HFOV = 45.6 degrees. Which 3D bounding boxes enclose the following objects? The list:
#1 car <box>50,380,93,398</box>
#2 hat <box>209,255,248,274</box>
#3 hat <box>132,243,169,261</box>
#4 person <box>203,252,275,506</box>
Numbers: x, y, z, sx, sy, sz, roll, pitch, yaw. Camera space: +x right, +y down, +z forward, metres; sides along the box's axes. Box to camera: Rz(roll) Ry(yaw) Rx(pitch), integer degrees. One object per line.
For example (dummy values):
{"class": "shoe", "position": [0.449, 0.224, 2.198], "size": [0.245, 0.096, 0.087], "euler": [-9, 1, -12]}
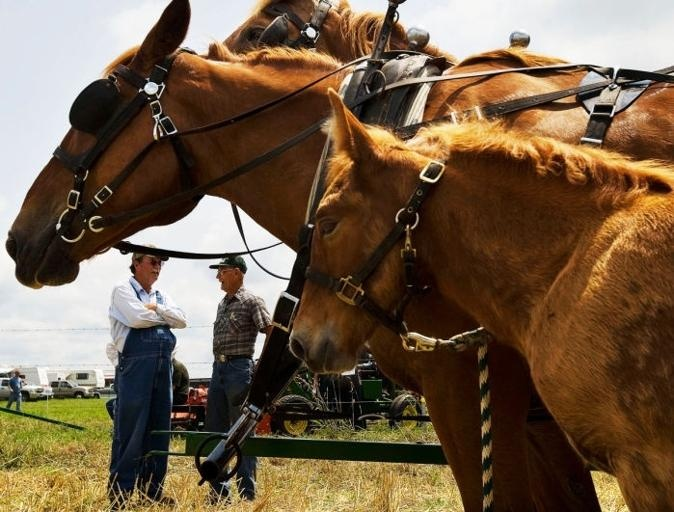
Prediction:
{"class": "car", "position": [-11.797, 5.971, 35.846], "size": [2.091, 0.914, 0.980], "euler": [-5, -7, 18]}
{"class": "hat", "position": [-0.816, 0.061, 6.044], "size": [0.235, 0.119, 0.153], "euler": [15, -11, -5]}
{"class": "hat", "position": [-1.158, -0.021, 4.963], "size": [0.120, 0.055, 0.183], "euler": [5, -2, -43]}
{"class": "person", "position": [-0.936, 1.070, 6.935], "size": [0.969, 2.072, 0.548], "euler": [-4, -4, 44]}
